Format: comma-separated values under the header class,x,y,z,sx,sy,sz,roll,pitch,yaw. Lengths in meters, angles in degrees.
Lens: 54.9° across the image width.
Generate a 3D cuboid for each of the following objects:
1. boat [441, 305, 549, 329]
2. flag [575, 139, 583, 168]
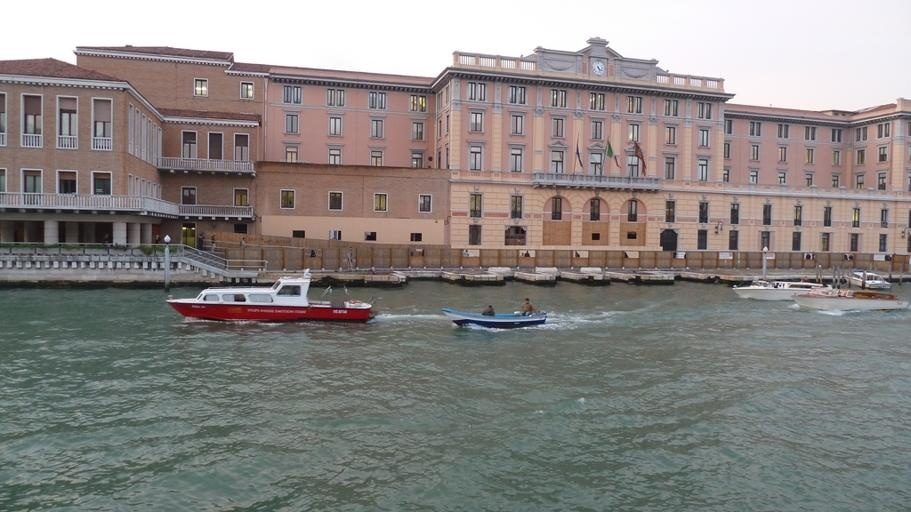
class,x,y,z,sx,sy,sz,roll,pitch,yaw
boat,3.498,5.631,78.139,10.559,1.415,2.711,2,-5,-7
flag,15.905,-13.238,114.004,0.689,3.491,1.218,-1,-1,17
